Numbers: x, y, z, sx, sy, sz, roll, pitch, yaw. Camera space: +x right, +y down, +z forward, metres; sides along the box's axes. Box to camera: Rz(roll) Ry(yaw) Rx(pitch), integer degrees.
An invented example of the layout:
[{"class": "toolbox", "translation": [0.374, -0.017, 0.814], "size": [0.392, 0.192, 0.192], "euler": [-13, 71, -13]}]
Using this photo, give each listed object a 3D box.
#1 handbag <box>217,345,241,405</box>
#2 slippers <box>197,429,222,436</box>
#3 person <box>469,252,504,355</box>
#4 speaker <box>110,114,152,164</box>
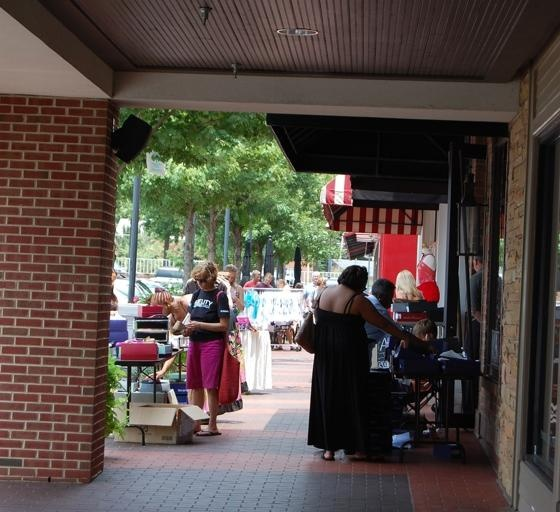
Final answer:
[{"class": "handbag", "translation": [-0.641, 1.470, 6.973], "size": [0.260, 0.955, 0.136], "euler": [11, -45, -10]}, {"class": "slippers", "translation": [-0.852, 2.098, 6.987], "size": [0.258, 0.072, 0.098], "euler": [5, -7, -12]}, {"class": "person", "translation": [2.403, 0.615, 7.000], "size": [0.288, 1.250, 1.281], "euler": [0, -4, 16]}, {"class": "speaker", "translation": [-1.329, -1.061, 5.284], "size": [0.351, 0.454, 0.274], "euler": [1, -4, -6]}]
